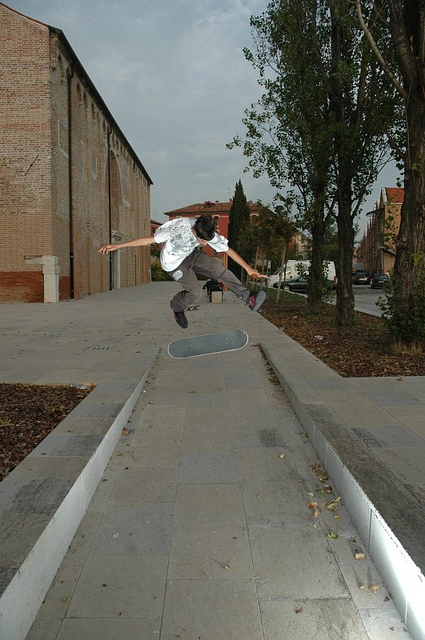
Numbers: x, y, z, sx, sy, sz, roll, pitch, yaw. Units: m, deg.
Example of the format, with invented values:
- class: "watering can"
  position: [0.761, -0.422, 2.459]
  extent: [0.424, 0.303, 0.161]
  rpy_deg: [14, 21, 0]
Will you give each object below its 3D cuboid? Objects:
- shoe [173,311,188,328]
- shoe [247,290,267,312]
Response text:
- class: "shoe"
  position: [-0.524, -0.009, 7.341]
  extent: [0.130, 0.407, 0.157]
  rpy_deg: [-23, 13, -18]
- class: "shoe"
  position: [0.663, -0.272, 6.303]
  extent: [0.166, 0.155, 0.408]
  rpy_deg: [10, -26, -11]
